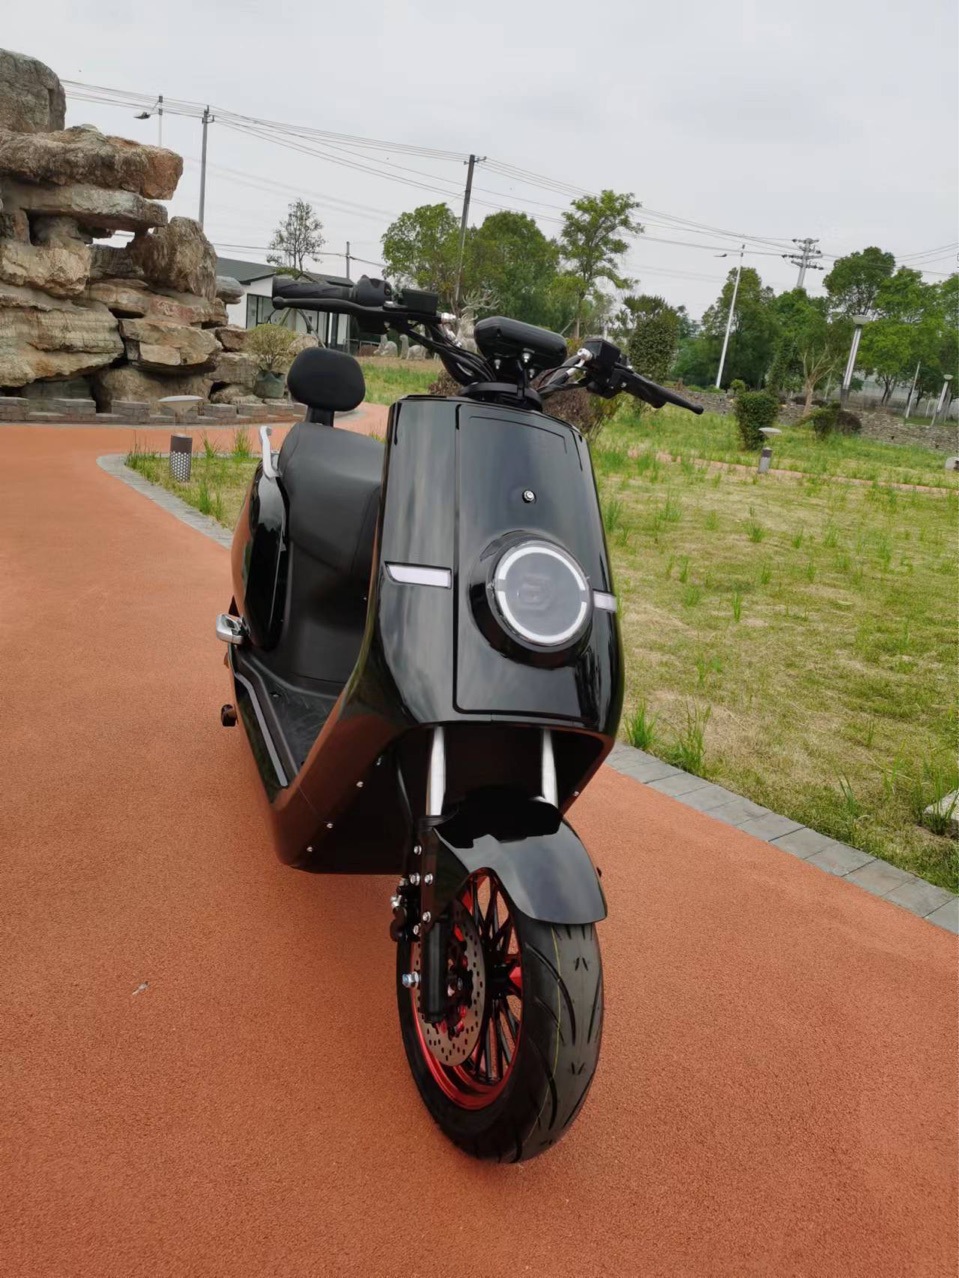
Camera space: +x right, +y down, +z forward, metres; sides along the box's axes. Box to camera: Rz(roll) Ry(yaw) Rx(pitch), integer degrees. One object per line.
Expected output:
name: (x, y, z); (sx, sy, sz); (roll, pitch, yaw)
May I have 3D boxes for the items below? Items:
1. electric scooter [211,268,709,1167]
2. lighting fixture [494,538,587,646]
electric scooter: (-0.228, -0.085, 2.515); (0.731, 1.541, 2.521); (4, 16, -26)
lighting fixture: (0.121, -0.085, 1.674); (0.206, 0.176, 0.133); (-3, 19, -36)
